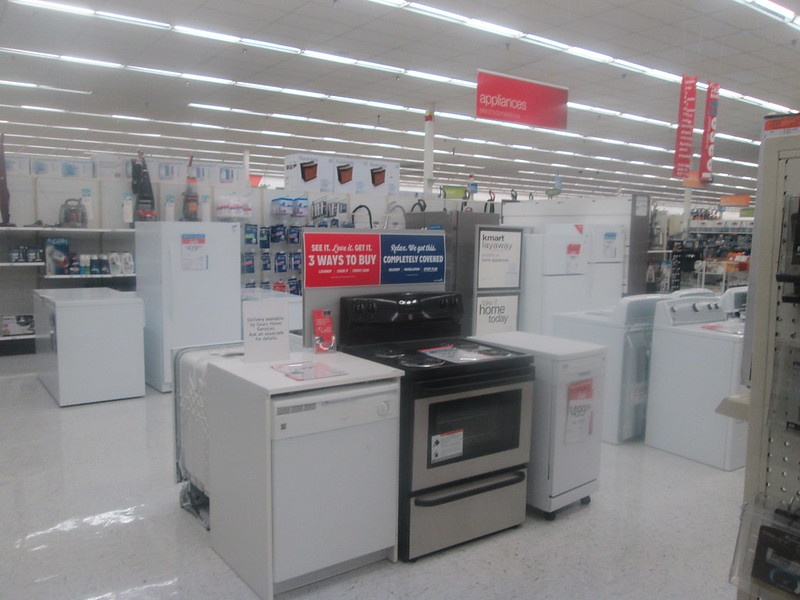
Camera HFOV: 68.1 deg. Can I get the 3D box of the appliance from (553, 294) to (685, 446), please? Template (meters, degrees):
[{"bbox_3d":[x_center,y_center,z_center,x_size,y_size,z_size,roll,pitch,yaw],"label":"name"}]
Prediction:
[{"bbox_3d":[1.841,0.454,5.498,0.829,1.086,0.841,-9,29,-35],"label":"appliance"}]

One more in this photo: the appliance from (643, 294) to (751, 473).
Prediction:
[{"bbox_3d":[2.280,0.685,4.556,0.650,1.283,1.316,2,5,36],"label":"appliance"}]

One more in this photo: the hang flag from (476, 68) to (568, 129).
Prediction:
[{"bbox_3d":[1.861,-2.997,8.915,1.650,0.744,0.260,-6,15,-30],"label":"hang flag"}]

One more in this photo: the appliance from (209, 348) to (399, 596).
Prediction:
[{"bbox_3d":[-0.561,0.933,3.721,1.146,1.584,1.177,-3,5,-35],"label":"appliance"}]

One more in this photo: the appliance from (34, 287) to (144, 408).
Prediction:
[{"bbox_3d":[-3.278,0.449,6.286,1.000,1.112,1.641,-1,5,-29],"label":"appliance"}]
